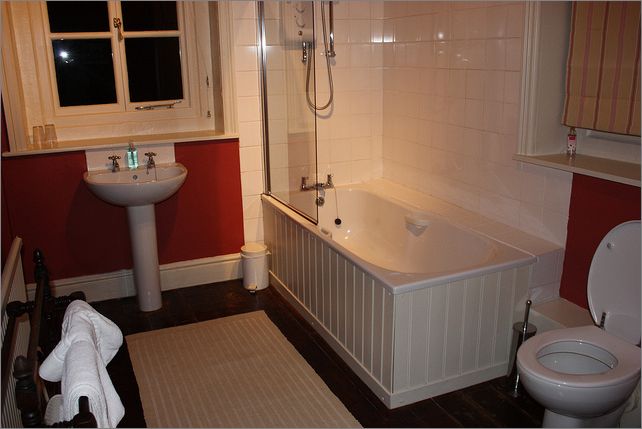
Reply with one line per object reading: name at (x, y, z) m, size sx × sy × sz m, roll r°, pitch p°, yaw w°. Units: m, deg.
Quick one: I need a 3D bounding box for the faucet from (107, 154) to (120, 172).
faucet at (-1.666, -0.409, 3.778) m, size 0.060 × 0.141 × 0.103 m, roll 19°, pitch 25°, yaw 39°

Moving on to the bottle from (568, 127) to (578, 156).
bottle at (1.718, -0.502, 3.201) m, size 0.067 × 0.183 × 0.095 m, roll 6°, pitch 23°, yaw 23°

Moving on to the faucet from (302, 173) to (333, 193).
faucet at (-0.014, -0.197, 3.565) m, size 0.215 × 0.082 × 0.160 m, roll -10°, pitch 20°, yaw -33°

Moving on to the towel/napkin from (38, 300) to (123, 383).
towel/napkin at (-0.998, 0.502, 1.959) m, size 0.295 × 0.197 × 0.371 m, roll -7°, pitch 24°, yaw -27°

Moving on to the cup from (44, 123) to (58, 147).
cup at (-2.131, -0.618, 3.706) m, size 0.089 × 0.154 × 0.219 m, roll -15°, pitch 24°, yaw -28°

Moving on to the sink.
sink at (-1.428, -0.207, 3.679) m, size 0.746 × 0.259 × 0.528 m, roll -12°, pitch 23°, yaw -20°

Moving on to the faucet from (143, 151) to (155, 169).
faucet at (-1.405, -0.440, 3.844) m, size 0.115 × 0.167 × 0.078 m, roll -6°, pitch 30°, yaw -26°

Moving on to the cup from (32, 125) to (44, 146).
cup at (-2.200, -0.604, 3.666) m, size 0.097 × 0.149 × 0.121 m, roll -15°, pitch 24°, yaw -29°
